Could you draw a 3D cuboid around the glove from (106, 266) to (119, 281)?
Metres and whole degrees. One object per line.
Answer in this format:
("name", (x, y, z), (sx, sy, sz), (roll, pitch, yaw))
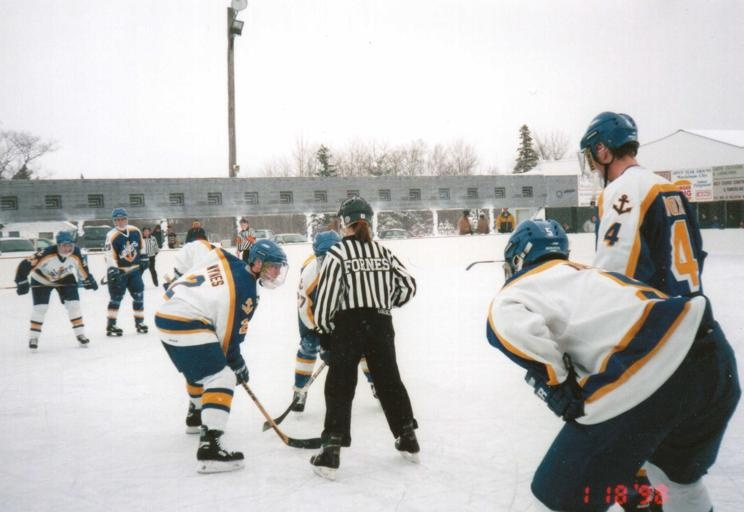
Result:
("glove", (-3.505, 0.231, 9.389), (0.145, 0.189, 0.250), (-5, 11, -18))

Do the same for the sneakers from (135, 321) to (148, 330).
("sneakers", (-3.140, 0.953, 9.442), (0.143, 0.134, 0.144), (-6, 11, -21))

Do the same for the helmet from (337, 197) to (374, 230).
("helmet", (-0.123, -0.338, 5.374), (0.206, 0.202, 0.267), (4, -23, -12))

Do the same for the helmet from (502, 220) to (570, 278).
("helmet", (1.022, -0.015, 4.352), (0.350, 0.426, 0.445), (-1, -16, -6))

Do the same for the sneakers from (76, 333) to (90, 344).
("sneakers", (-3.588, 1.014, 8.588), (0.143, 0.151, 0.230), (-6, 11, -25))

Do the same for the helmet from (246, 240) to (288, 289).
("helmet", (-0.862, 0.049, 5.544), (0.363, 0.374, 0.300), (6, 4, 2))

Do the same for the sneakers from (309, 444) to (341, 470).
("sneakers", (-0.337, 1.436, 4.975), (0.203, 0.199, 0.158), (-3, 10, -9))

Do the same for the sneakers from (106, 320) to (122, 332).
("sneakers", (-3.448, 0.936, 9.223), (0.166, 0.205, 0.190), (-9, 12, -34))

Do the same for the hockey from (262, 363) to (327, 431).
("hockey", (-0.698, 1.276, 6.220), (0.088, 0.174, 0.883), (-22, 18, 47))

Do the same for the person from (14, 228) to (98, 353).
("person", (-3.978, 0.387, 8.729), (0.892, 1.444, 0.971), (-6, 11, -20))

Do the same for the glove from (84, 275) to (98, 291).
("glove", (-3.675, 0.344, 9.140), (0.216, 0.217, 0.154), (-6, 8, -32))

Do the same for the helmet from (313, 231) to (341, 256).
("helmet", (-0.395, -0.141, 6.025), (0.185, 0.219, 0.246), (0, 34, 25))

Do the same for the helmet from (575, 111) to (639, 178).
("helmet", (1.618, -0.753, 4.736), (0.322, 0.446, 0.401), (2, -16, -35))

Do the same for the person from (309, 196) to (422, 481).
("person", (-0.066, 0.543, 5.155), (0.775, 1.886, 0.842), (-1, 10, 2))

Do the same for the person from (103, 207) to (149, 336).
("person", (-3.472, 0.186, 9.709), (0.614, 1.718, 1.364), (-5, 11, -19))
